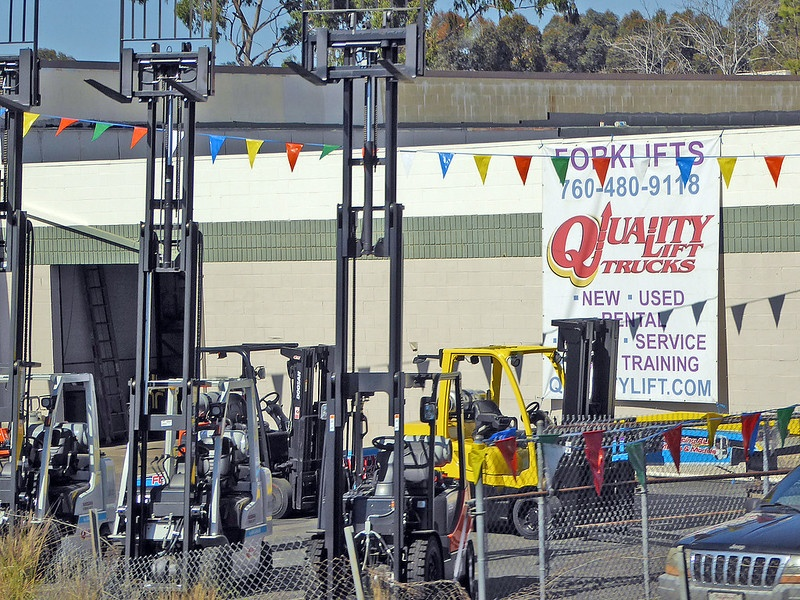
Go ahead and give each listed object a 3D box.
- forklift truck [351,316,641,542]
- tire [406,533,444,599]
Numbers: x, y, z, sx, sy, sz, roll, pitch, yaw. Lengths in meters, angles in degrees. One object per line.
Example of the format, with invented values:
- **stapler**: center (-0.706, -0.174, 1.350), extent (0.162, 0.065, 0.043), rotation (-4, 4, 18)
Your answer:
- **forklift truck**: center (2.273, 2.093, 26.147), extent (5.242, 4.652, 2.179), rotation (-3, 0, 23)
- **tire**: center (0.319, 3.712, 22.497), extent (0.191, 0.648, 0.598), rotation (0, 21, 22)
